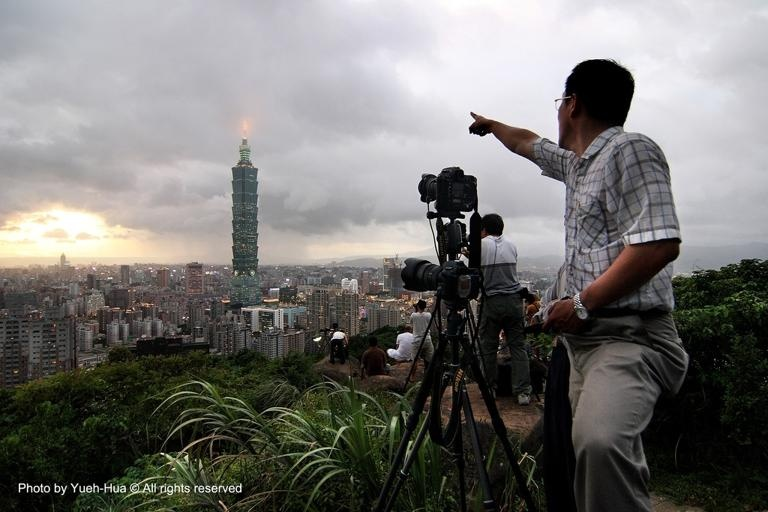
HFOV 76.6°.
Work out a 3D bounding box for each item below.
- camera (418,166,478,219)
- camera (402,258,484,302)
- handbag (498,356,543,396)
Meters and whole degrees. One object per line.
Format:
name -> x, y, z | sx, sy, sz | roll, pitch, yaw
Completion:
camera -> 0.429, -0.466, 3.528 | 0.320, 0.330, 0.467 | 1, 4, -29
camera -> 0.369, 0.146, 3.196 | 0.232, 0.208, 0.499 | 21, -8, -22
handbag -> 1.483, 1.298, 5.291 | 0.543, 0.363, 0.389 | 3, 20, 8
